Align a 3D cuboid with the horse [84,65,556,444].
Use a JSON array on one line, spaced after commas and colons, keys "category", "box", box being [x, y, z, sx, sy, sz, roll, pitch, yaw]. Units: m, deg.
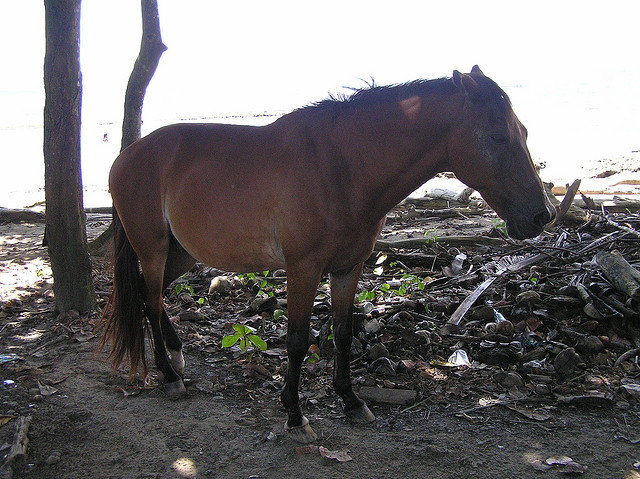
[{"category": "horse", "box": [-0.249, 0.102, 4.171, 3.742, 2.533, 0.983, 2, 6, 17]}]
